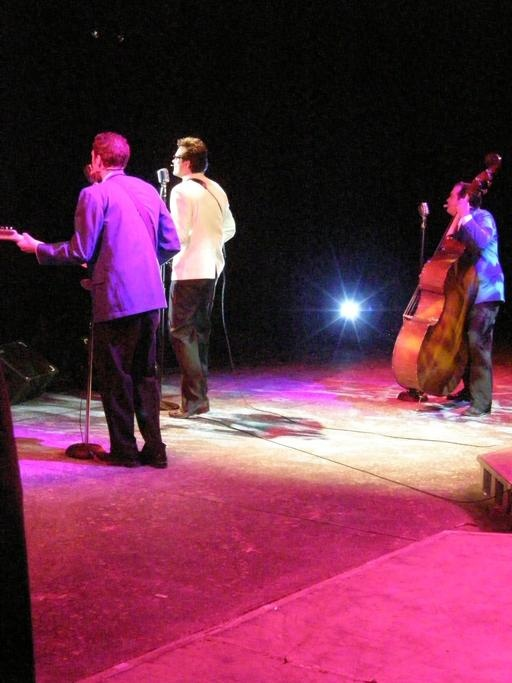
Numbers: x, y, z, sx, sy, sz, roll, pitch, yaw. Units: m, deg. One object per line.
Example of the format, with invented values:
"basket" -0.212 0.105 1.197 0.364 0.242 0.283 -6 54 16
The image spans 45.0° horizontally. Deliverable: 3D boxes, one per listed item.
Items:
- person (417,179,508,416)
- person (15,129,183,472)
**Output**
"person" 1.646 -0.314 4.698 0.422 1.727 0.698 0 0 19
"person" -0.704 -0.088 2.870 0.578 1.390 0.227 0 1 -20
